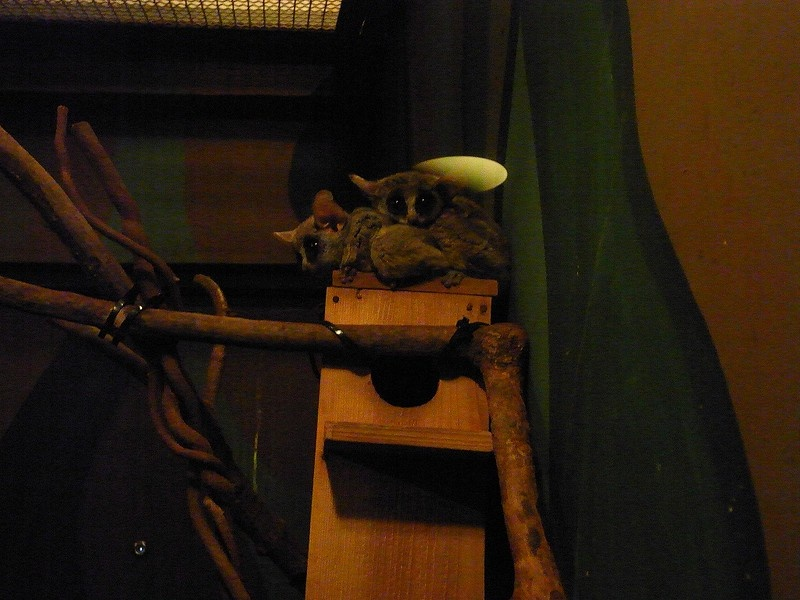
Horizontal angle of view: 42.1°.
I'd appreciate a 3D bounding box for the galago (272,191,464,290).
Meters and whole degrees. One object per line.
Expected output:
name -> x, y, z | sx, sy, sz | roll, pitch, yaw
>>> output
galago -> -0.037, -0.126, 2.284 | 0.464, 0.189, 0.208 | 0, -2, 20
